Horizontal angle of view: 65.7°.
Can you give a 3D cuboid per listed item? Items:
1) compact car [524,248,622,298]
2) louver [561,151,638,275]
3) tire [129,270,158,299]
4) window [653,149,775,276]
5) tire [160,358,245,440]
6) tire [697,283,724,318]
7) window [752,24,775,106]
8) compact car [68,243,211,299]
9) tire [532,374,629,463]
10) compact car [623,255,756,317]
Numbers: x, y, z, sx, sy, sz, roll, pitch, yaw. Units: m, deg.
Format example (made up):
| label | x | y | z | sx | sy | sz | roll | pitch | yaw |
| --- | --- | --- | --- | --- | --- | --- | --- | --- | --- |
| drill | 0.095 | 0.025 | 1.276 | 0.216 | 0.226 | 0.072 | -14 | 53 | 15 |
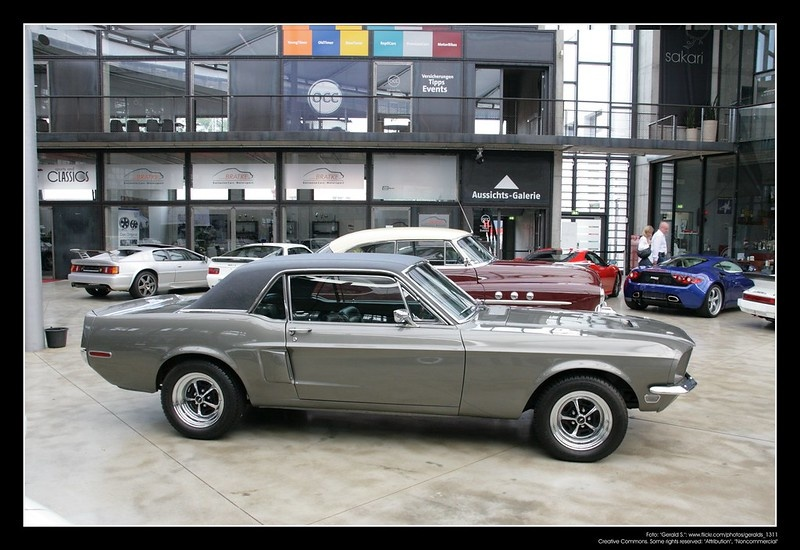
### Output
| label | x | y | z | sx | sy | sz | roll | pitch | yaw |
| --- | --- | --- | --- | --- | --- | --- | --- | --- | --- |
| compact car | 5.106 | -0.212 | 17.600 | 1.715 | 0.795 | 3.134 | 19 | 12 | 38 |
| louver | 7.604 | -2.293 | 24.643 | 3.382 | 6.000 | 0.267 | 2 | -17 | 18 |
| tire | -6.712 | 0.223 | 16.020 | 0.224 | 0.536 | 0.541 | 2 | -37 | 29 |
| window | 10.507 | -2.089 | 20.232 | 2.541 | 4.187 | 4.637 | -1 | 2 | -23 |
| tire | -2.125 | 1.307 | 6.654 | 0.917 | 0.884 | 0.321 | 1 | 1 | 9 |
| tire | 7.120 | 0.593 | 14.090 | 0.890 | 0.752 | 0.275 | -7 | 12 | -42 |
| window | 12.007 | -6.842 | 20.217 | 0.647 | 2.403 | 1.511 | 5 | 10 | 29 |
| compact car | -6.887 | -0.145 | 16.940 | 1.656 | 0.855 | 3.053 | 4 | 7 | 30 |
| tire | 1.809 | 1.421 | 6.186 | 0.924 | 0.888 | 0.321 | -1 | 0 | 4 |
| compact car | 7.194 | 0.307 | 14.693 | 1.421 | 0.815 | 2.886 | 1 | 7 | 44 |
